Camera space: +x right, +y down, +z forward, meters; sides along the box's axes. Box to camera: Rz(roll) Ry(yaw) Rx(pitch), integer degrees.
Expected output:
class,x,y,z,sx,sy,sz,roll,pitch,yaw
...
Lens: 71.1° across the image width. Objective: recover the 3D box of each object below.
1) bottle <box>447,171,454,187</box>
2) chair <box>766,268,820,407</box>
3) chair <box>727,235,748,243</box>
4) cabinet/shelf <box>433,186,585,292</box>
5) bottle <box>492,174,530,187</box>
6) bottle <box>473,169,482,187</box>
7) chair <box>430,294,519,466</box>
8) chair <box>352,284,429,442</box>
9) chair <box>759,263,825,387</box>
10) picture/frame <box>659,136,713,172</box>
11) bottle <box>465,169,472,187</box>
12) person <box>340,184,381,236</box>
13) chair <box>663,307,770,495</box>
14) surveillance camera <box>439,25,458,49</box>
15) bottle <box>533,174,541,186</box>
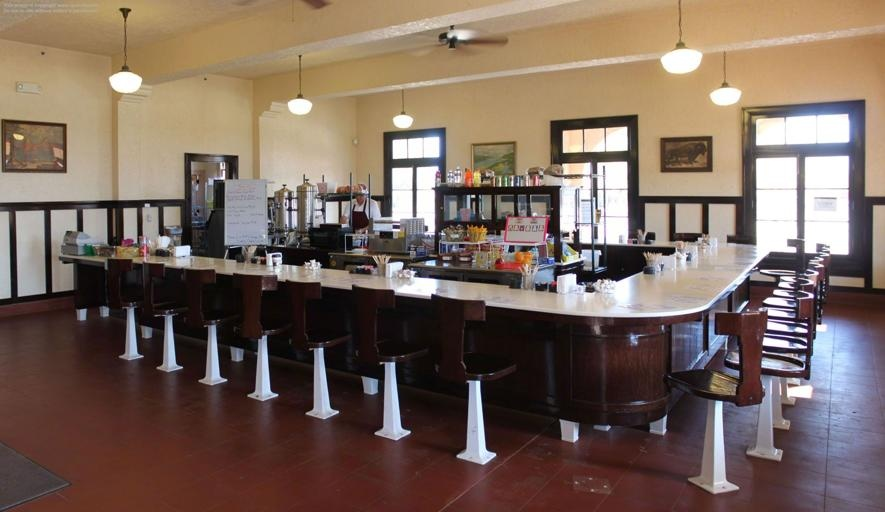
class,x,y,z,sx,sy,sz,roll,pitch,yaw
bottle,0.149,-1.264,10.074,0.114,0.228,0.264,1,7,2
chair,4.240,1.034,7.430,0.448,0.608,1.777,2,7,25
chair,5.622,-0.343,11.680,0.188,0.233,0.205,-3,6,-40
cabinet/shelf,0.769,-0.512,10.054,2.121,1.164,0.730,-2,-6,-19
bottle,1.155,-1.181,9.719,0.306,0.098,0.305,1,0,0
bottle,0.559,-1.238,9.866,0.114,0.251,0.224,1,7,2
chair,0.381,1.328,7.066,0.896,1.821,0.834,4,7,24
chair,-0.646,1.224,7.158,0.770,1.754,0.408,0,7,-6
chair,4.352,0.896,7.615,0.495,0.663,1.654,3,11,31
picture/frame,5.075,-2.126,12.720,0.857,0.583,0.031,3,9,25
bottle,0.425,-1.258,9.968,0.135,0.267,0.273,1,7,0
person,-1.564,-0.919,11.826,0.674,0.889,0.996,0,7,-11
chair,2.933,1.500,6.519,0.747,1.910,0.637,7,9,39
surveillance camera,0.104,-3.387,9.574,0.300,0.280,0.293,3,7,14
bottle,1.462,-1.174,9.518,0.107,0.148,0.101,1,7,0
